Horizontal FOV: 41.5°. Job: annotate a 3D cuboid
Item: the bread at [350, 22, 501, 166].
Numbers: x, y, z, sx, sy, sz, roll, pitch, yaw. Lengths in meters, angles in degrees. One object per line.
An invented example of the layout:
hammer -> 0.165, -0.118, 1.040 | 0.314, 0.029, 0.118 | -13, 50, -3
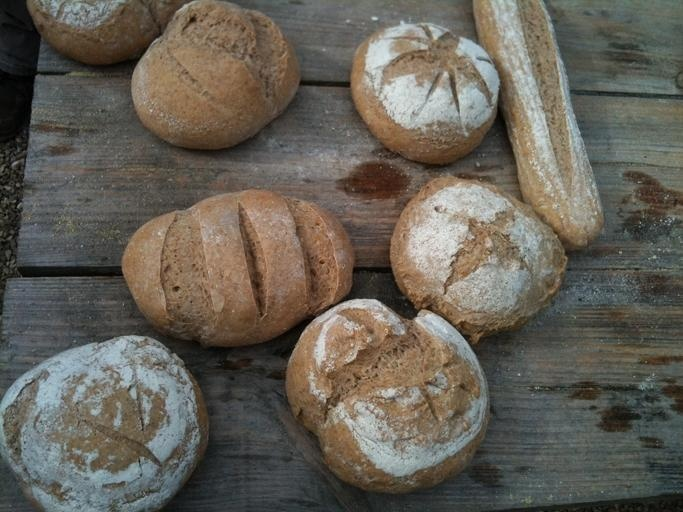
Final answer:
bread -> 0.335, -0.685, 3.759 | 0.633, 0.292, 0.501 | 26, 72, 5

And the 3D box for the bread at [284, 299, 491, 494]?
bread -> 0.185, 0.533, 3.461 | 0.710, 0.261, 0.656 | 6, 71, -2
